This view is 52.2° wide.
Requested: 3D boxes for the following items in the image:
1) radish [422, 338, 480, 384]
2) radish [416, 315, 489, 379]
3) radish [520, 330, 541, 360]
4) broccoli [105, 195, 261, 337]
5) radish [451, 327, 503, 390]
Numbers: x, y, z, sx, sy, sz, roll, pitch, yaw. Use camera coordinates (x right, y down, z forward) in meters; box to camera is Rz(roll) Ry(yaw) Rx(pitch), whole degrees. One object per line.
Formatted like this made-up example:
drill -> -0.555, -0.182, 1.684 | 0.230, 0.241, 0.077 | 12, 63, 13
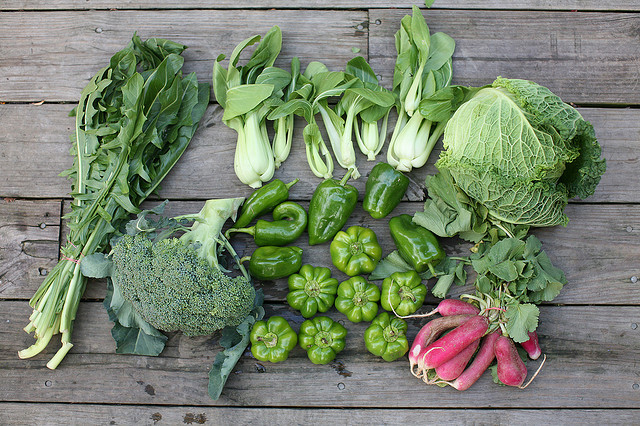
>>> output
radish -> 0.679, 0.760, 3.326 | 0.318, 0.096, 0.164 | -39, 66, -2
radish -> 0.654, 0.644, 3.231 | 0.368, 0.185, 0.090 | -17, 46, -17
radish -> 1.080, 0.679, 3.362 | 0.089, 0.060, 0.143 | -9, 86, -8
broccoli -> -0.695, 0.288, 3.332 | 0.768, 0.561, 0.618 | -8, 43, -7
radish -> 0.798, 0.747, 3.315 | 0.438, 0.107, 0.125 | -46, 48, -3
